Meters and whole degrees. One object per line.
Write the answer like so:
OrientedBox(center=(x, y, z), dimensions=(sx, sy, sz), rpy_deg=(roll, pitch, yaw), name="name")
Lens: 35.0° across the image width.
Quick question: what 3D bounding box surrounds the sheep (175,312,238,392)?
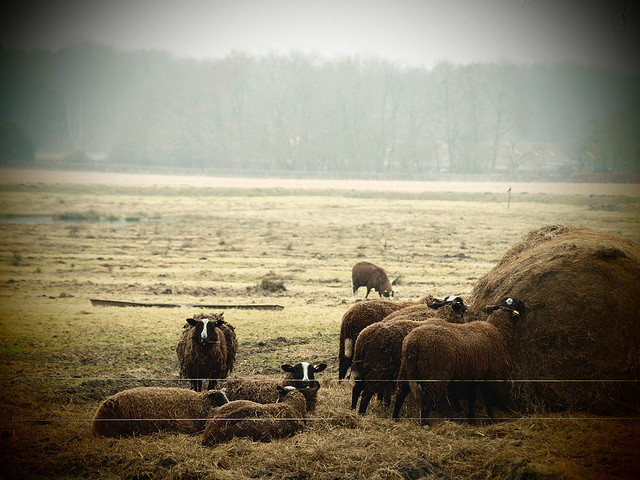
OrientedBox(center=(-5.648, 5.746, 50.733), dimensions=(2.951, 3.459, 5.742), rpy_deg=(4, -6, -5), name="sheep")
